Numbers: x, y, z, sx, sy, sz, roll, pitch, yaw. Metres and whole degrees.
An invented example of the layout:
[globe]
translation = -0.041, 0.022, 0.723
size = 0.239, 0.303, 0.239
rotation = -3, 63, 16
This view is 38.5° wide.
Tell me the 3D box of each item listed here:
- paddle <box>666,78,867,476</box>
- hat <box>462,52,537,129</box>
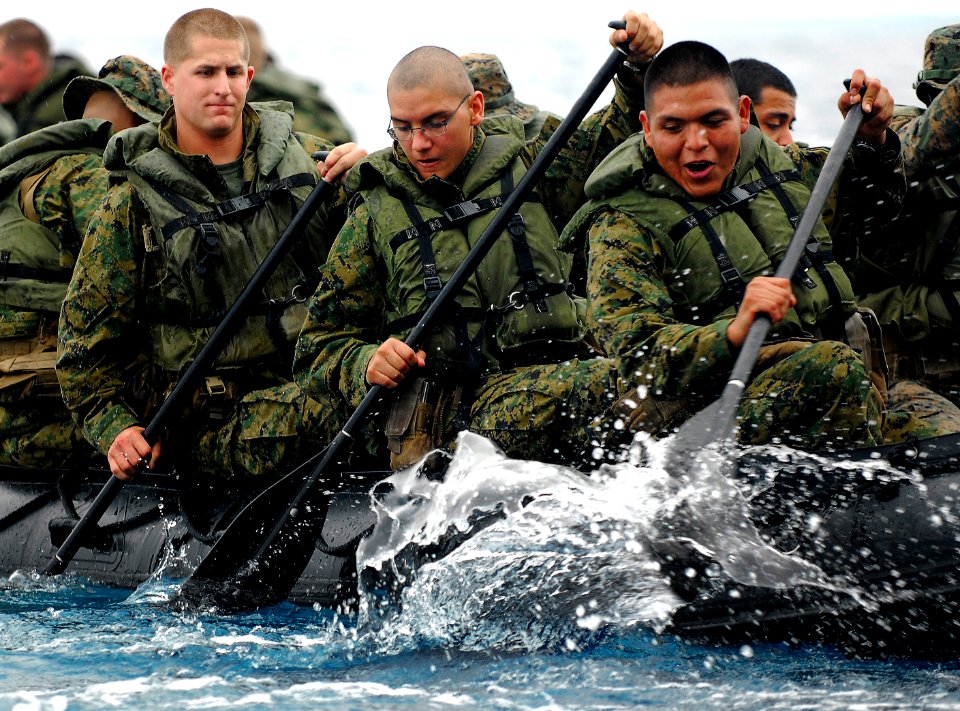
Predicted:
[paddle]
translation = 1.242, -0.282, 6.096
size = 0.245, 1.835, 0.186
rotation = 23, -2, 32
[hat]
translation = 0.126, -1.715, 8.880
size = 0.300, 0.335, 0.243
rotation = -5, -32, -1
